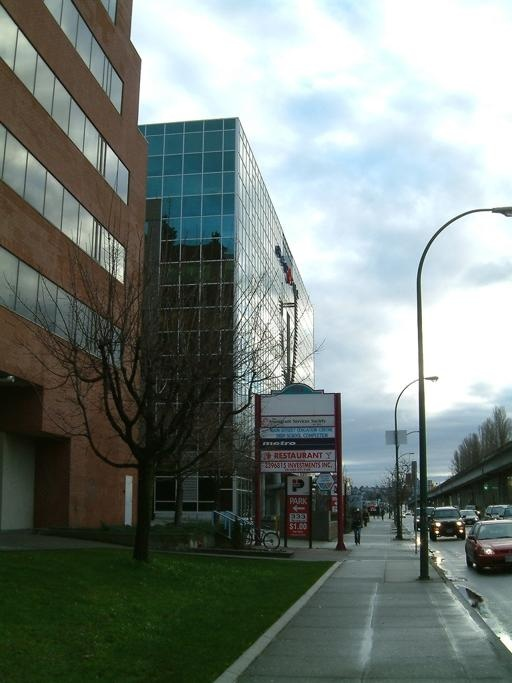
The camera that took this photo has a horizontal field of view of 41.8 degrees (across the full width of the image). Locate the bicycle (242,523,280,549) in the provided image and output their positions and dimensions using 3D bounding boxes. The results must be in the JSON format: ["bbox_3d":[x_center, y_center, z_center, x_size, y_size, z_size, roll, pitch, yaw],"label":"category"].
[{"bbox_3d":[0.302,7.800,26.463,1.542,1.119,0.901,0,-13,18],"label":"bicycle"}]
